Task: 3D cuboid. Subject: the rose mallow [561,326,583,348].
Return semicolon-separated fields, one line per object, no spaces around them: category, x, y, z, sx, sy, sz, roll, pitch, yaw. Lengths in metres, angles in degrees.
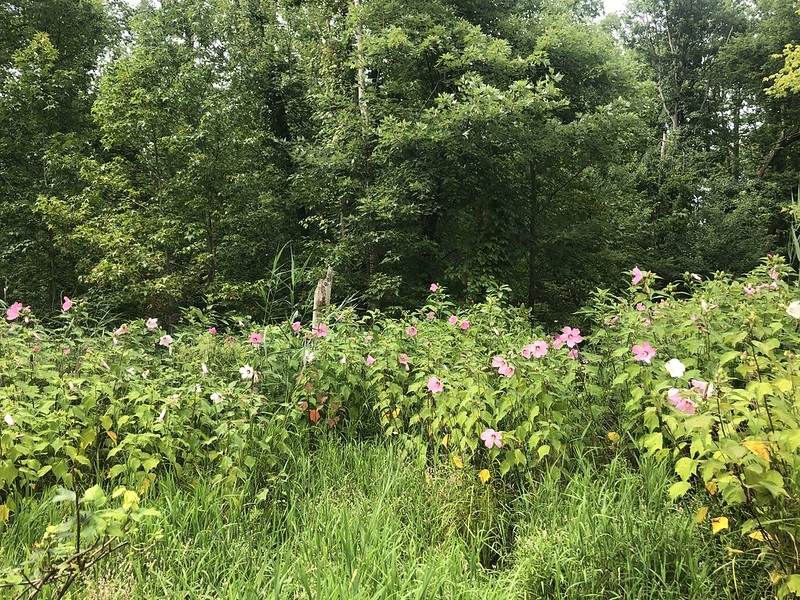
rose mallow;2.347;0.507;10.012;0.291;0.301;0.338;0;1;20

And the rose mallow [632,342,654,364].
rose mallow;3.131;0.675;9.450;0.287;0.278;0.265;0;1;16

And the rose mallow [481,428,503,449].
rose mallow;1.195;1.777;9.435;0.258;0.243;0.105;17;7;-14
